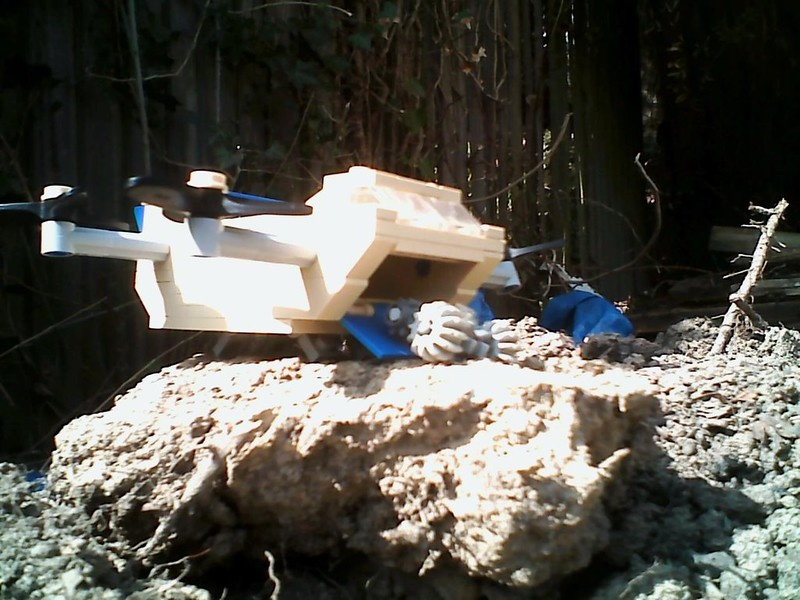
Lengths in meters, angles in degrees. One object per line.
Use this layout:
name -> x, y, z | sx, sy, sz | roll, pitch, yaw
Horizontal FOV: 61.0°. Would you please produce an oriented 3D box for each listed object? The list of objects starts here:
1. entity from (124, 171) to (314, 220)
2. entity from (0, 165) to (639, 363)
entity -> -0.580, -0.301, 2.070 | 0.252, 0.093, 0.264 | 6, 4, 29
entity -> -0.259, -0.145, 2.506 | 2.106, 0.699, 0.870 | 3, 16, -5
